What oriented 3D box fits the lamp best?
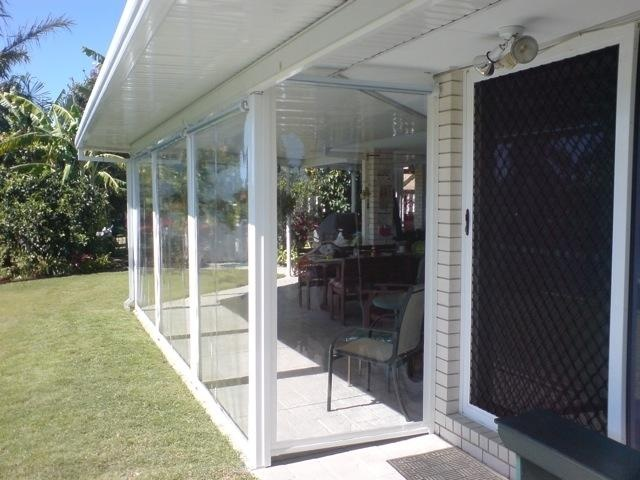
[{"bbox_3d":[1.177,-1.185,3.267,0.165,0.252,0.440,-1,3,-15],"label":"lamp"}]
